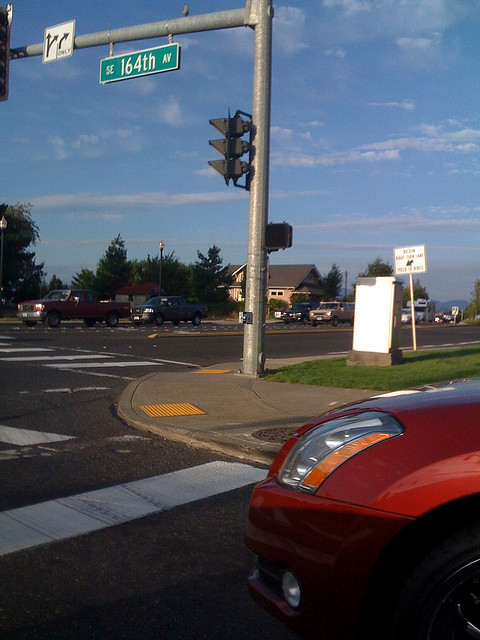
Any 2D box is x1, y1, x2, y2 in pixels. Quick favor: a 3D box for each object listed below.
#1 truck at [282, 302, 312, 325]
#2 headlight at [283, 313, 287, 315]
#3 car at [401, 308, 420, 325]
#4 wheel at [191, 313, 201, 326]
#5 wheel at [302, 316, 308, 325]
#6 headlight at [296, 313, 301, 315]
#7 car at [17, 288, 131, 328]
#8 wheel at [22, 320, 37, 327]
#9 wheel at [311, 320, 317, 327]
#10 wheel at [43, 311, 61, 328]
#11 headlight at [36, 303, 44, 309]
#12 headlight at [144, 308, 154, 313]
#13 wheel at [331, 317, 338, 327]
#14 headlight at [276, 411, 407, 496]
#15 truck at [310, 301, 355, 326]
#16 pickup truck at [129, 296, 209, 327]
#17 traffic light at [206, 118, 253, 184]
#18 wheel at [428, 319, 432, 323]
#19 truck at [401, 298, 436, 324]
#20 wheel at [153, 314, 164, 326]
[{"bbox_3d":[4.475,-0.455,46.171,1.155,1.225,2.114,-2,-4,31],"label":"truck"},{"bbox_3d":[3.314,-0.408,45.506,0.234,0.092,0.121,0,1,-21],"label":"headlight"},{"bbox_3d":[11.996,-0.176,44.343,1.201,1.286,2.160,-1,-2,32],"label":"car"},{"bbox_3d":[-2.520,-0.025,35.956,0.196,0.676,0.597,-8,0,30],"label":"wheel"},{"bbox_3d":[4.736,0.046,45.558,0.366,0.543,0.600,1,1,5],"label":"wheel"},{"bbox_3d":[4.266,-0.410,45.668,0.320,0.095,0.120,1,1,-4],"label":"headlight"},{"bbox_3d":[-8.156,-0.430,30.308,2.372,1.795,4.394,-2,-3,44],"label":"car"},{"bbox_3d":[-9.906,0.188,29.429,0.420,0.358,0.529,0,-4,6],"label":"wheel"},{"bbox_3d":[5.043,0.236,42.589,0.388,0.391,1.642,1,1,5],"label":"wheel"},{"bbox_3d":[-8.658,-0.036,28.902,0.197,0.667,0.590,4,-5,29],"label":"wheel"},{"bbox_3d":[-9.071,-0.608,28.438,0.320,0.384,0.192,0,-4,-4],"label":"headlight"},{"bbox_3d":[-4.770,-0.477,32.919,0.271,0.252,0.301,5,4,29],"label":"headlight"},{"bbox_3d":[6.393,0.150,42.441,0.386,0.553,0.778,1,1,14],"label":"wheel"},{"bbox_3d":[0.318,0.404,2.211,0.374,0.291,0.489,4,5,44],"label":"headlight"},{"bbox_3d":[6.366,-0.721,43.501,1.897,1.780,3.434,-1,-2,35],"label":"truck"},{"bbox_3d":[-4.161,-0.434,34.619,1.605,1.595,3.942,-1,-2,38],"label":"pickup truck"},{"bbox_3d":[-0.171,-2.990,11.035,0.677,1.095,0.393,0,1,0],"label":"traffic light"},{"bbox_3d":[19.654,0.214,64.717,0.396,0.466,0.220,1,-7,-33],"label":"wheel"},{"bbox_3d":[15.133,-0.629,52.904,2.078,3.195,5.761,0,0,32],"label":"truck"},{"bbox_3d":[-4.373,0.038,33.582,0.493,0.618,0.785,1,1,9],"label":"wheel"}]
